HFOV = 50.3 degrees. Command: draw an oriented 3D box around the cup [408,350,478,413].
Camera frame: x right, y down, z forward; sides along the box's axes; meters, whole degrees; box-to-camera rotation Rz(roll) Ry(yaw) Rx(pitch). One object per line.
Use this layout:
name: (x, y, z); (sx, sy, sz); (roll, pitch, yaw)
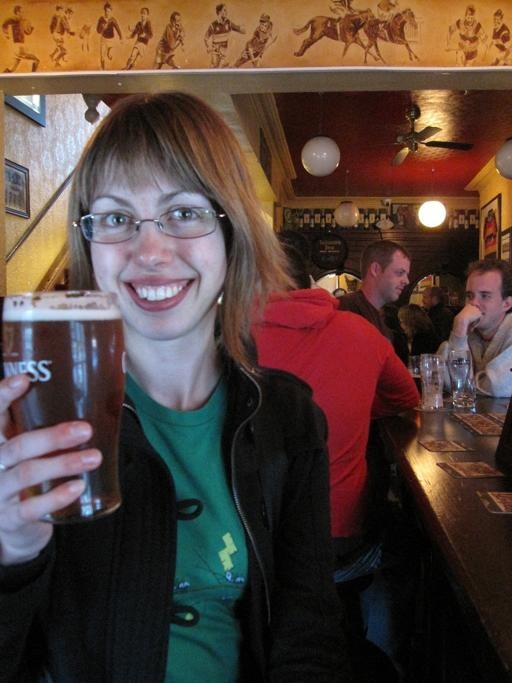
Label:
cup: (0.910, 0.205, 2.660); (0.306, 0.254, 0.133); (0, -7, -16)

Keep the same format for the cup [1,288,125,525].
cup: (-0.194, 0.067, 0.575); (0.123, 0.201, 0.089); (-4, -1, -24)

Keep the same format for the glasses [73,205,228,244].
glasses: (-0.171, -0.202, 0.959); (0.258, 0.061, 0.083); (-4, -1, -15)

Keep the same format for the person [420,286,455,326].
person: (2.912, -0.568, 8.778); (0.532, 0.639, 0.900); (-4, 5, 28)
